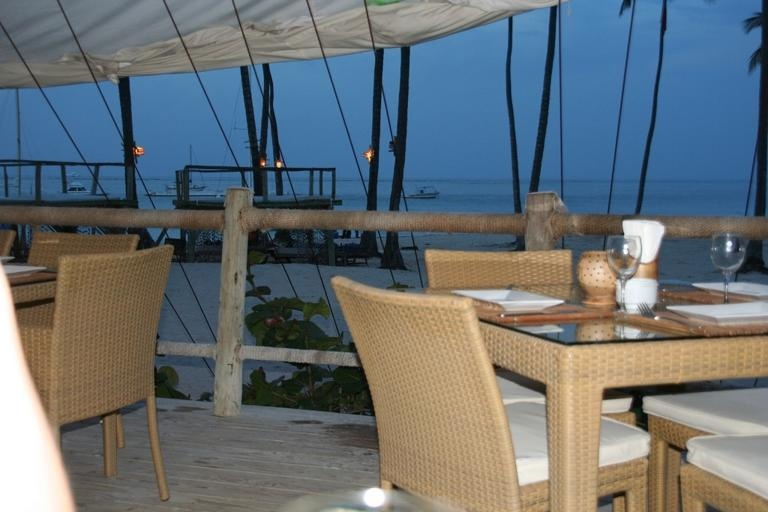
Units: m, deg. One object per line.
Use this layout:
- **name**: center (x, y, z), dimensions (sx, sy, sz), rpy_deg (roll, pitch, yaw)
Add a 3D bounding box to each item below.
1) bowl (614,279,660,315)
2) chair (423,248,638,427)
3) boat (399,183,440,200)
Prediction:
- **bowl**: center (1.238, 0.193, 4.556), dimensions (0.172, 0.130, 0.167), rpy_deg (-1, -1, 0)
- **chair**: center (0.721, 0.550, 5.127), dimensions (0.895, 1.118, 1.171), rpy_deg (-5, 10, -25)
- **boat**: center (1.904, -3.073, 45.099), dimensions (1.640, 0.688, 1.069), rpy_deg (-7, 3, -7)
